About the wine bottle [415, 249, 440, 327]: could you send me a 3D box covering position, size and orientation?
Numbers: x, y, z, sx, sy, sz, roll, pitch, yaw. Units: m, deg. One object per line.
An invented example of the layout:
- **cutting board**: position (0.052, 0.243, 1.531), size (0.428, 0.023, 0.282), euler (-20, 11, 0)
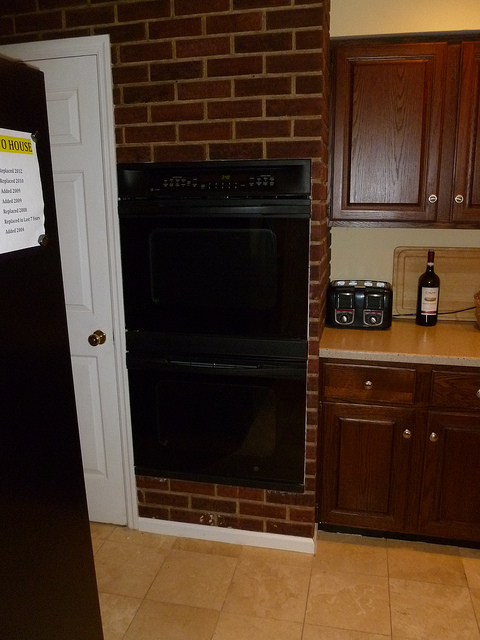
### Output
- **wine bottle**: position (0.833, -0.148, 2.249), size (0.091, 0.331, 0.170), euler (3, 11, 19)

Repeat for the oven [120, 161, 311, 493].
- **oven**: position (-0.076, -0.035, 2.121), size (0.699, 1.351, 0.596), euler (3, 23, 7)

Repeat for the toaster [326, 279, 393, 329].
- **toaster**: position (0.501, -0.062, 2.130), size (0.232, 0.216, 0.201), euler (7, 16, 16)

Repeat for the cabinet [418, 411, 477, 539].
- **cabinet**: position (0.765, 0.558, 2.051), size (0.265, 0.463, 0.294), euler (3, 14, 13)

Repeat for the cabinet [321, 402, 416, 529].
- **cabinet**: position (0.461, 0.495, 2.174), size (0.434, 0.700, 0.438), euler (3, 9, 13)

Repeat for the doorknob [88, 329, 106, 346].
- **doorknob**: position (-0.572, 0.067, 2.038), size (0.063, 0.058, 0.066), euler (-3, 23, 11)
